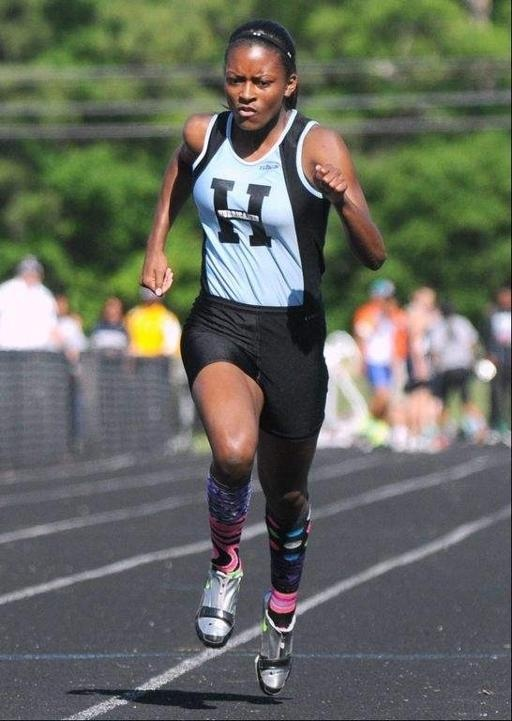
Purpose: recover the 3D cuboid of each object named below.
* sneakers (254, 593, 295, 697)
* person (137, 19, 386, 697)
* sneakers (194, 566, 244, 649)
[{"bbox_3d":[0.059,0.950,3.271,0.107,0.275,0.130,2,-2,-8],"label":"sneakers"},{"bbox_3d":[0.021,0.021,3.046,0.676,1.912,0.850,2,0,-16],"label":"person"},{"bbox_3d":[-0.102,0.759,3.139,0.102,0.138,0.296,7,59,-3],"label":"sneakers"}]
